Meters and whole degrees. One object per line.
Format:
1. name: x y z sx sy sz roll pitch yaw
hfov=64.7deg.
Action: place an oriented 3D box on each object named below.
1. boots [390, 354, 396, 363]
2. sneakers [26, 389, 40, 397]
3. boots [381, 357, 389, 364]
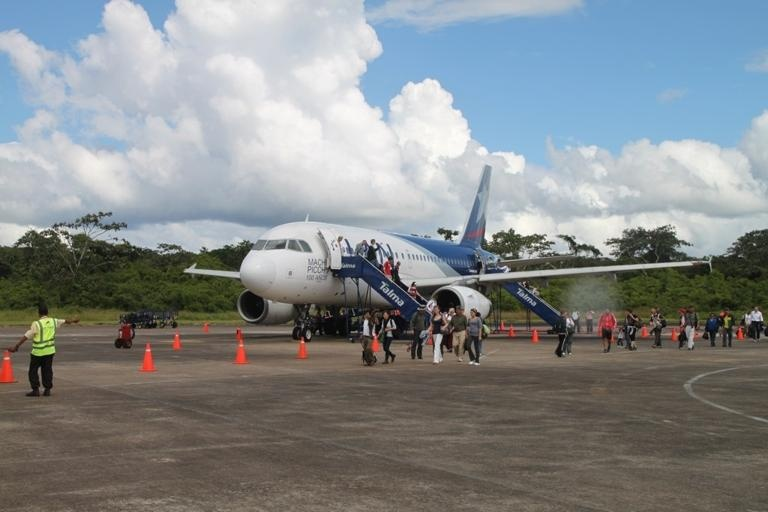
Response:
1. boots: 0.307 3.654 21.668 0.109 0.296 0.209 4 -37 9
2. sneakers: -7.896 3.068 13.659 0.265 0.155 0.430 3 -6 -30
3. boots: 0.079 3.674 21.245 0.116 0.190 0.297 4 1 -40
